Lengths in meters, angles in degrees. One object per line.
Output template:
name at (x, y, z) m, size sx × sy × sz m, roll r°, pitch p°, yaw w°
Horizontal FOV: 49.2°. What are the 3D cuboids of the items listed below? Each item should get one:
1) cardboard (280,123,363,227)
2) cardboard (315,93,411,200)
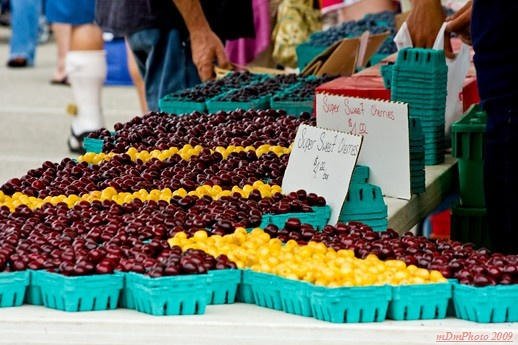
cardboard at (0.274, 0.020, 2.529) m, size 0.105 × 0.404 × 0.428 m, roll 11°, pitch 6°, yaw -45°
cardboard at (0.458, -0.155, 2.677) m, size 0.631 × 0.490 × 0.033 m, roll 8°, pitch -19°, yaw -31°
